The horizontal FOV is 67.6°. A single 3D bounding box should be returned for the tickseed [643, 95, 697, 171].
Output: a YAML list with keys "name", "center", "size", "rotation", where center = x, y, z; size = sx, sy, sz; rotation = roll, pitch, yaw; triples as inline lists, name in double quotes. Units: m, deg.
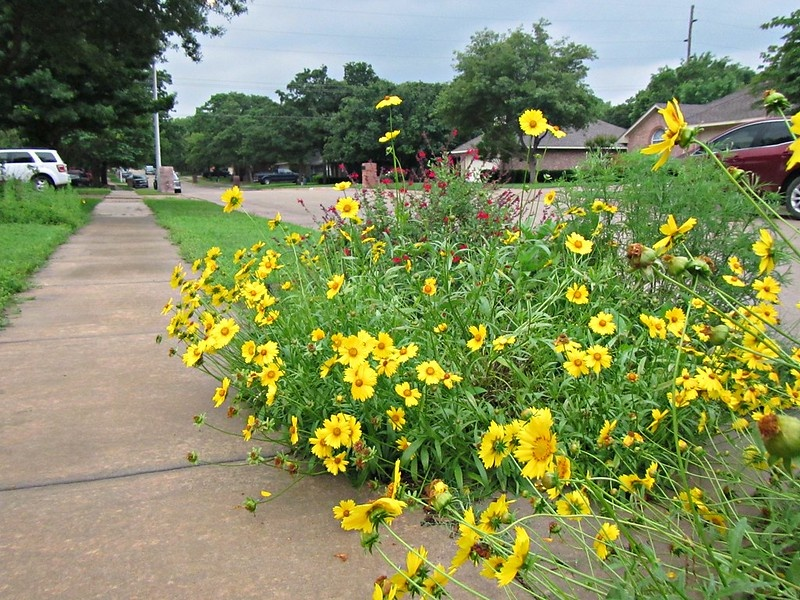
- name: "tickseed"
  center: [0.943, -0.567, 2.039]
  size: [0.107, 0.246, 0.278]
  rotation: [36, 29, 29]
